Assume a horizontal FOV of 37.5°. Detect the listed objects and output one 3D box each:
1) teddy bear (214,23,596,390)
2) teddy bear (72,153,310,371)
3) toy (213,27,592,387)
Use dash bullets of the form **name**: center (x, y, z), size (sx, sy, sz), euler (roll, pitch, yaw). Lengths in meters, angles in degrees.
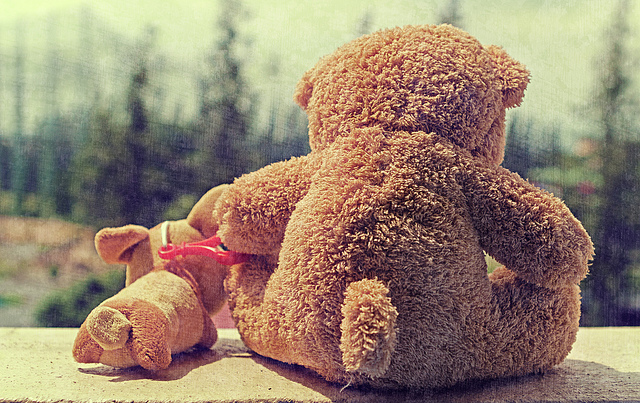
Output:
- **teddy bear**: center (0.222, 0.011, 2.692), size (1.133, 0.946, 0.797), euler (2, 6, 14)
- **teddy bear**: center (-0.456, 0.233, 2.749), size (0.487, 0.413, 0.727), euler (-7, 11, 17)
- **toy**: center (0.186, 0.066, 2.894), size (1.302, 1.062, 0.969), euler (2, 0, 25)
